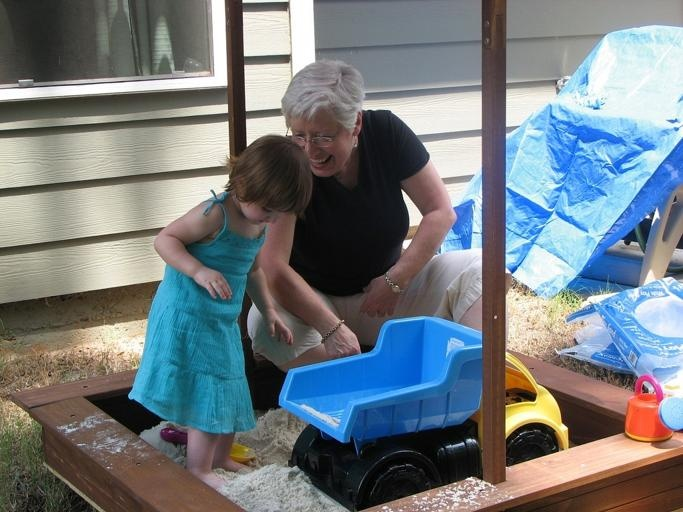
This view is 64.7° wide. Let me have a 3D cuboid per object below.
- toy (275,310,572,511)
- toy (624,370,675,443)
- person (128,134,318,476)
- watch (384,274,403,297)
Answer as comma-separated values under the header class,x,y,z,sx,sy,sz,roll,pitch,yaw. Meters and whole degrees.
class,x,y,z,sx,sy,sz,roll,pitch,yaw
toy,0.265,0.421,1.709,0.813,0.508,0.456,-12,18,-25
toy,0.911,0.449,1.566,0.110,0.194,0.186,-4,1,-1
person,-0.384,0.154,1.682,0.576,1.010,0.404,-17,22,-37
watch,0.185,0.106,2.031,0.068,0.027,0.074,28,24,-54
